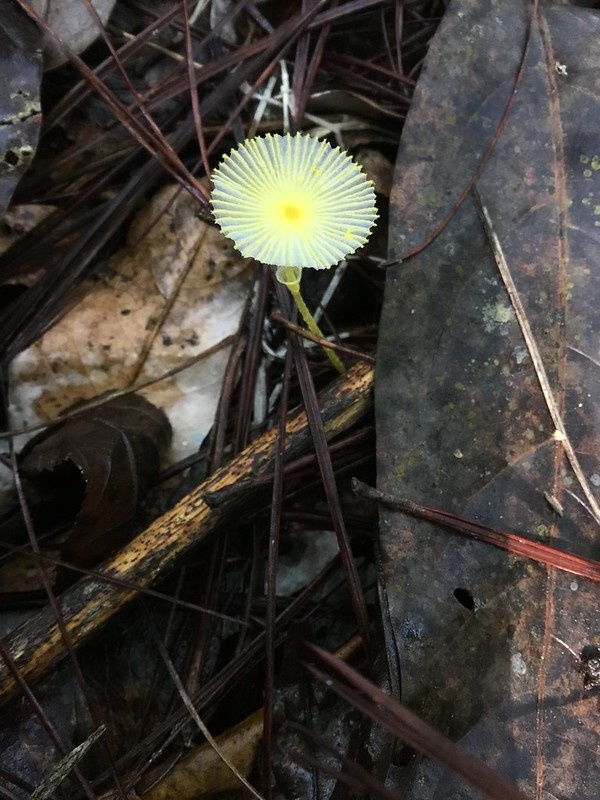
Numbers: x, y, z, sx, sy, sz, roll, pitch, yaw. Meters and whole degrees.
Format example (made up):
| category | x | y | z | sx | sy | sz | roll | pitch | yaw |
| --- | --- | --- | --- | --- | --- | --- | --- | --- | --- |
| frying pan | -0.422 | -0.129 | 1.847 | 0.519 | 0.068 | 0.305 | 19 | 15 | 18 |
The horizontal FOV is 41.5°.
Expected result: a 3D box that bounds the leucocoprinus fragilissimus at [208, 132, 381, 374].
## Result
| category | x | y | z | sx | sy | sz | roll | pitch | yaw |
| --- | --- | --- | --- | --- | --- | --- | --- | --- | --- |
| leucocoprinus fragilissimus | -0.040 | -0.411 | 2.545 | 0.565 | 0.448 | 0.828 | 11 | -24 | 9 |
